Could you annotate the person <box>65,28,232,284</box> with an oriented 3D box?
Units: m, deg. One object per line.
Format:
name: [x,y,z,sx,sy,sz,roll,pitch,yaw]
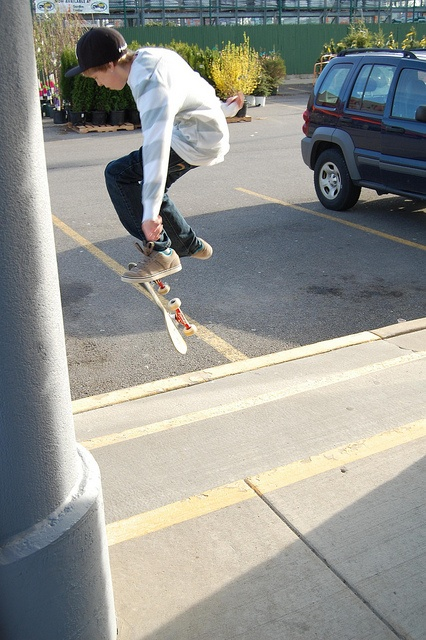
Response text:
person: [-0.412,-0.929,3.375,0.860,1.710,1.179,4,22,11]

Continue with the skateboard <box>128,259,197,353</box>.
skateboard: [-0.428,-0.272,4.149,0.184,0.307,1.135,28,30,-49]

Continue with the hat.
hat: [-0.705,-1.549,3.163,0.336,0.199,0.231,-18,44,13]
